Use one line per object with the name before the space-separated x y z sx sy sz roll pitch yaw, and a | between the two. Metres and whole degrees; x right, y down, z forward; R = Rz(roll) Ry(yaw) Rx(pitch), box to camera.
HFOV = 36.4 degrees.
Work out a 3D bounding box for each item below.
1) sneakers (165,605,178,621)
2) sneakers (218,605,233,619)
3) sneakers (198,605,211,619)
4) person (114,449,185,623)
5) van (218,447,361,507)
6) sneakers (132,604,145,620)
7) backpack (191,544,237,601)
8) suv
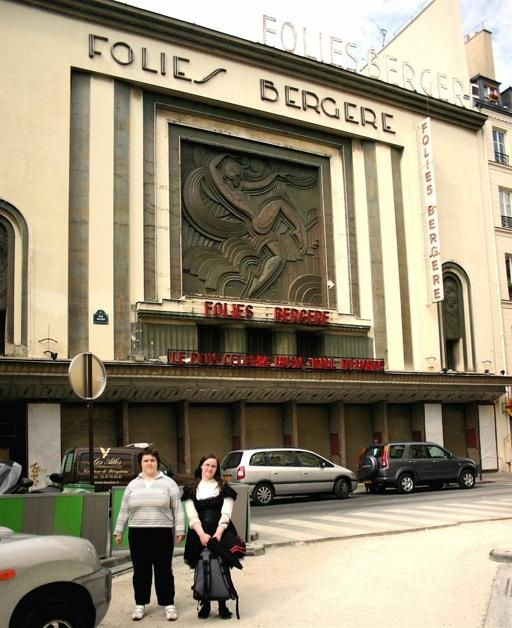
sneakers | -0.816 2.923 7.646 0.066 0.087 0.202 5 7 -10
sneakers | -0.280 2.934 7.672 0.173 0.120 0.072 5 -11 -23
sneakers | -0.509 2.899 7.657 0.107 0.178 0.200 0 -6 -10
person | -1.054 2.180 7.771 0.666 1.673 0.435 0 -6 -11
van | 0.654 4.554 22.293 4.580 1.866 2.340 2 -12 -30
sneakers | -1.161 2.953 7.706 0.102 0.137 0.122 -2 -6 7
backpack | -0.404 2.472 7.490 0.521 0.691 0.381 1 -36 -7
suv | 5.010 4.755 24.418 3.513 1.416 1.694 0 -10 -26
